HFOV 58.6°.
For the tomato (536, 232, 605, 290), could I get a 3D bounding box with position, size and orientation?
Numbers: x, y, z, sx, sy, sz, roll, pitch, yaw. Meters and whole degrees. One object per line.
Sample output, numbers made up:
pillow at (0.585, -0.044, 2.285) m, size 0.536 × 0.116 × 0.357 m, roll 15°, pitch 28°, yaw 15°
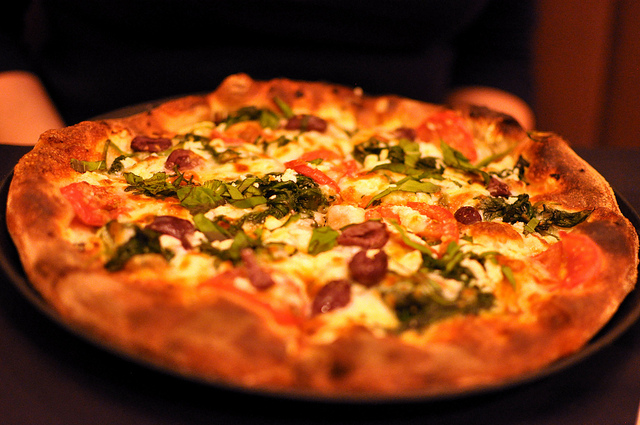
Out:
tomato at (1.034, 0.213, 2.338) m, size 0.233 × 0.135 × 0.296 m, roll 1°, pitch 44°, yaw 1°
